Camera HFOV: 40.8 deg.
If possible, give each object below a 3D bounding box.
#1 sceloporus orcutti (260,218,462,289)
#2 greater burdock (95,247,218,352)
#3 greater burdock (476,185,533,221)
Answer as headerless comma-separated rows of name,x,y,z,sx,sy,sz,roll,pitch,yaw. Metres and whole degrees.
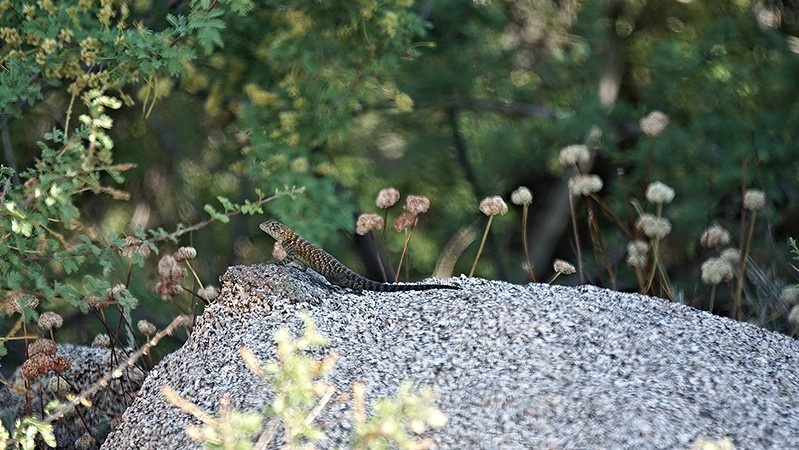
sceloporus orcutti,-0.574,0.563,12.355,2.574,0.692,0.673,16,-9,14
greater burdock,-2.459,0.570,12.395,0.836,1.730,0.760,3,0,42
greater burdock,1.261,-0.325,12.889,0.459,0.442,1.080,3,4,12
